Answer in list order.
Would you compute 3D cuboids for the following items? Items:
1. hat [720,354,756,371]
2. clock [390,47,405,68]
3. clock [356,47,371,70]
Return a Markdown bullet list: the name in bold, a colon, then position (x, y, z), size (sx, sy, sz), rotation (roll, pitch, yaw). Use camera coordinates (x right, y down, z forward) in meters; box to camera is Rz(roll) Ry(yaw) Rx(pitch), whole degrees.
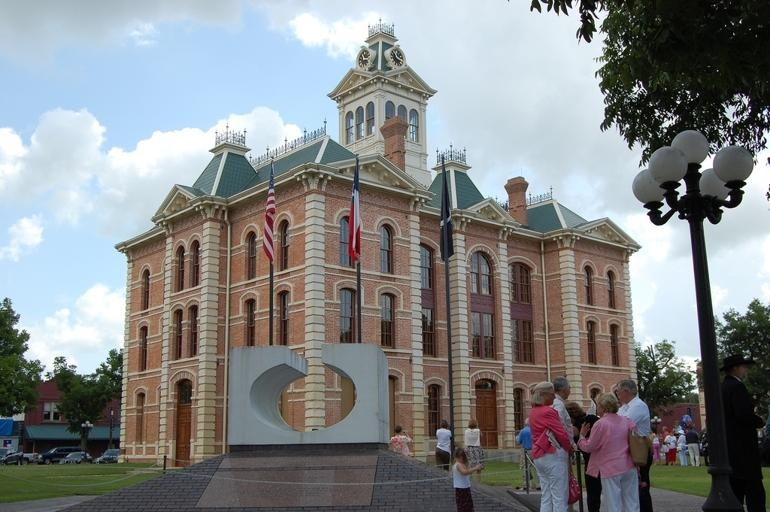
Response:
- **hat**: position (6.486, 1.952, 14.276), size (0.654, 0.245, 0.571), rotation (-18, -14, 19)
- **clock**: position (0.855, -13.545, 52.846), size (1.142, 1.770, 0.470), rotation (13, -25, -32)
- **clock**: position (-1.391, -13.457, 53.076), size (1.430, 1.909, 0.302), rotation (-19, -27, 39)
